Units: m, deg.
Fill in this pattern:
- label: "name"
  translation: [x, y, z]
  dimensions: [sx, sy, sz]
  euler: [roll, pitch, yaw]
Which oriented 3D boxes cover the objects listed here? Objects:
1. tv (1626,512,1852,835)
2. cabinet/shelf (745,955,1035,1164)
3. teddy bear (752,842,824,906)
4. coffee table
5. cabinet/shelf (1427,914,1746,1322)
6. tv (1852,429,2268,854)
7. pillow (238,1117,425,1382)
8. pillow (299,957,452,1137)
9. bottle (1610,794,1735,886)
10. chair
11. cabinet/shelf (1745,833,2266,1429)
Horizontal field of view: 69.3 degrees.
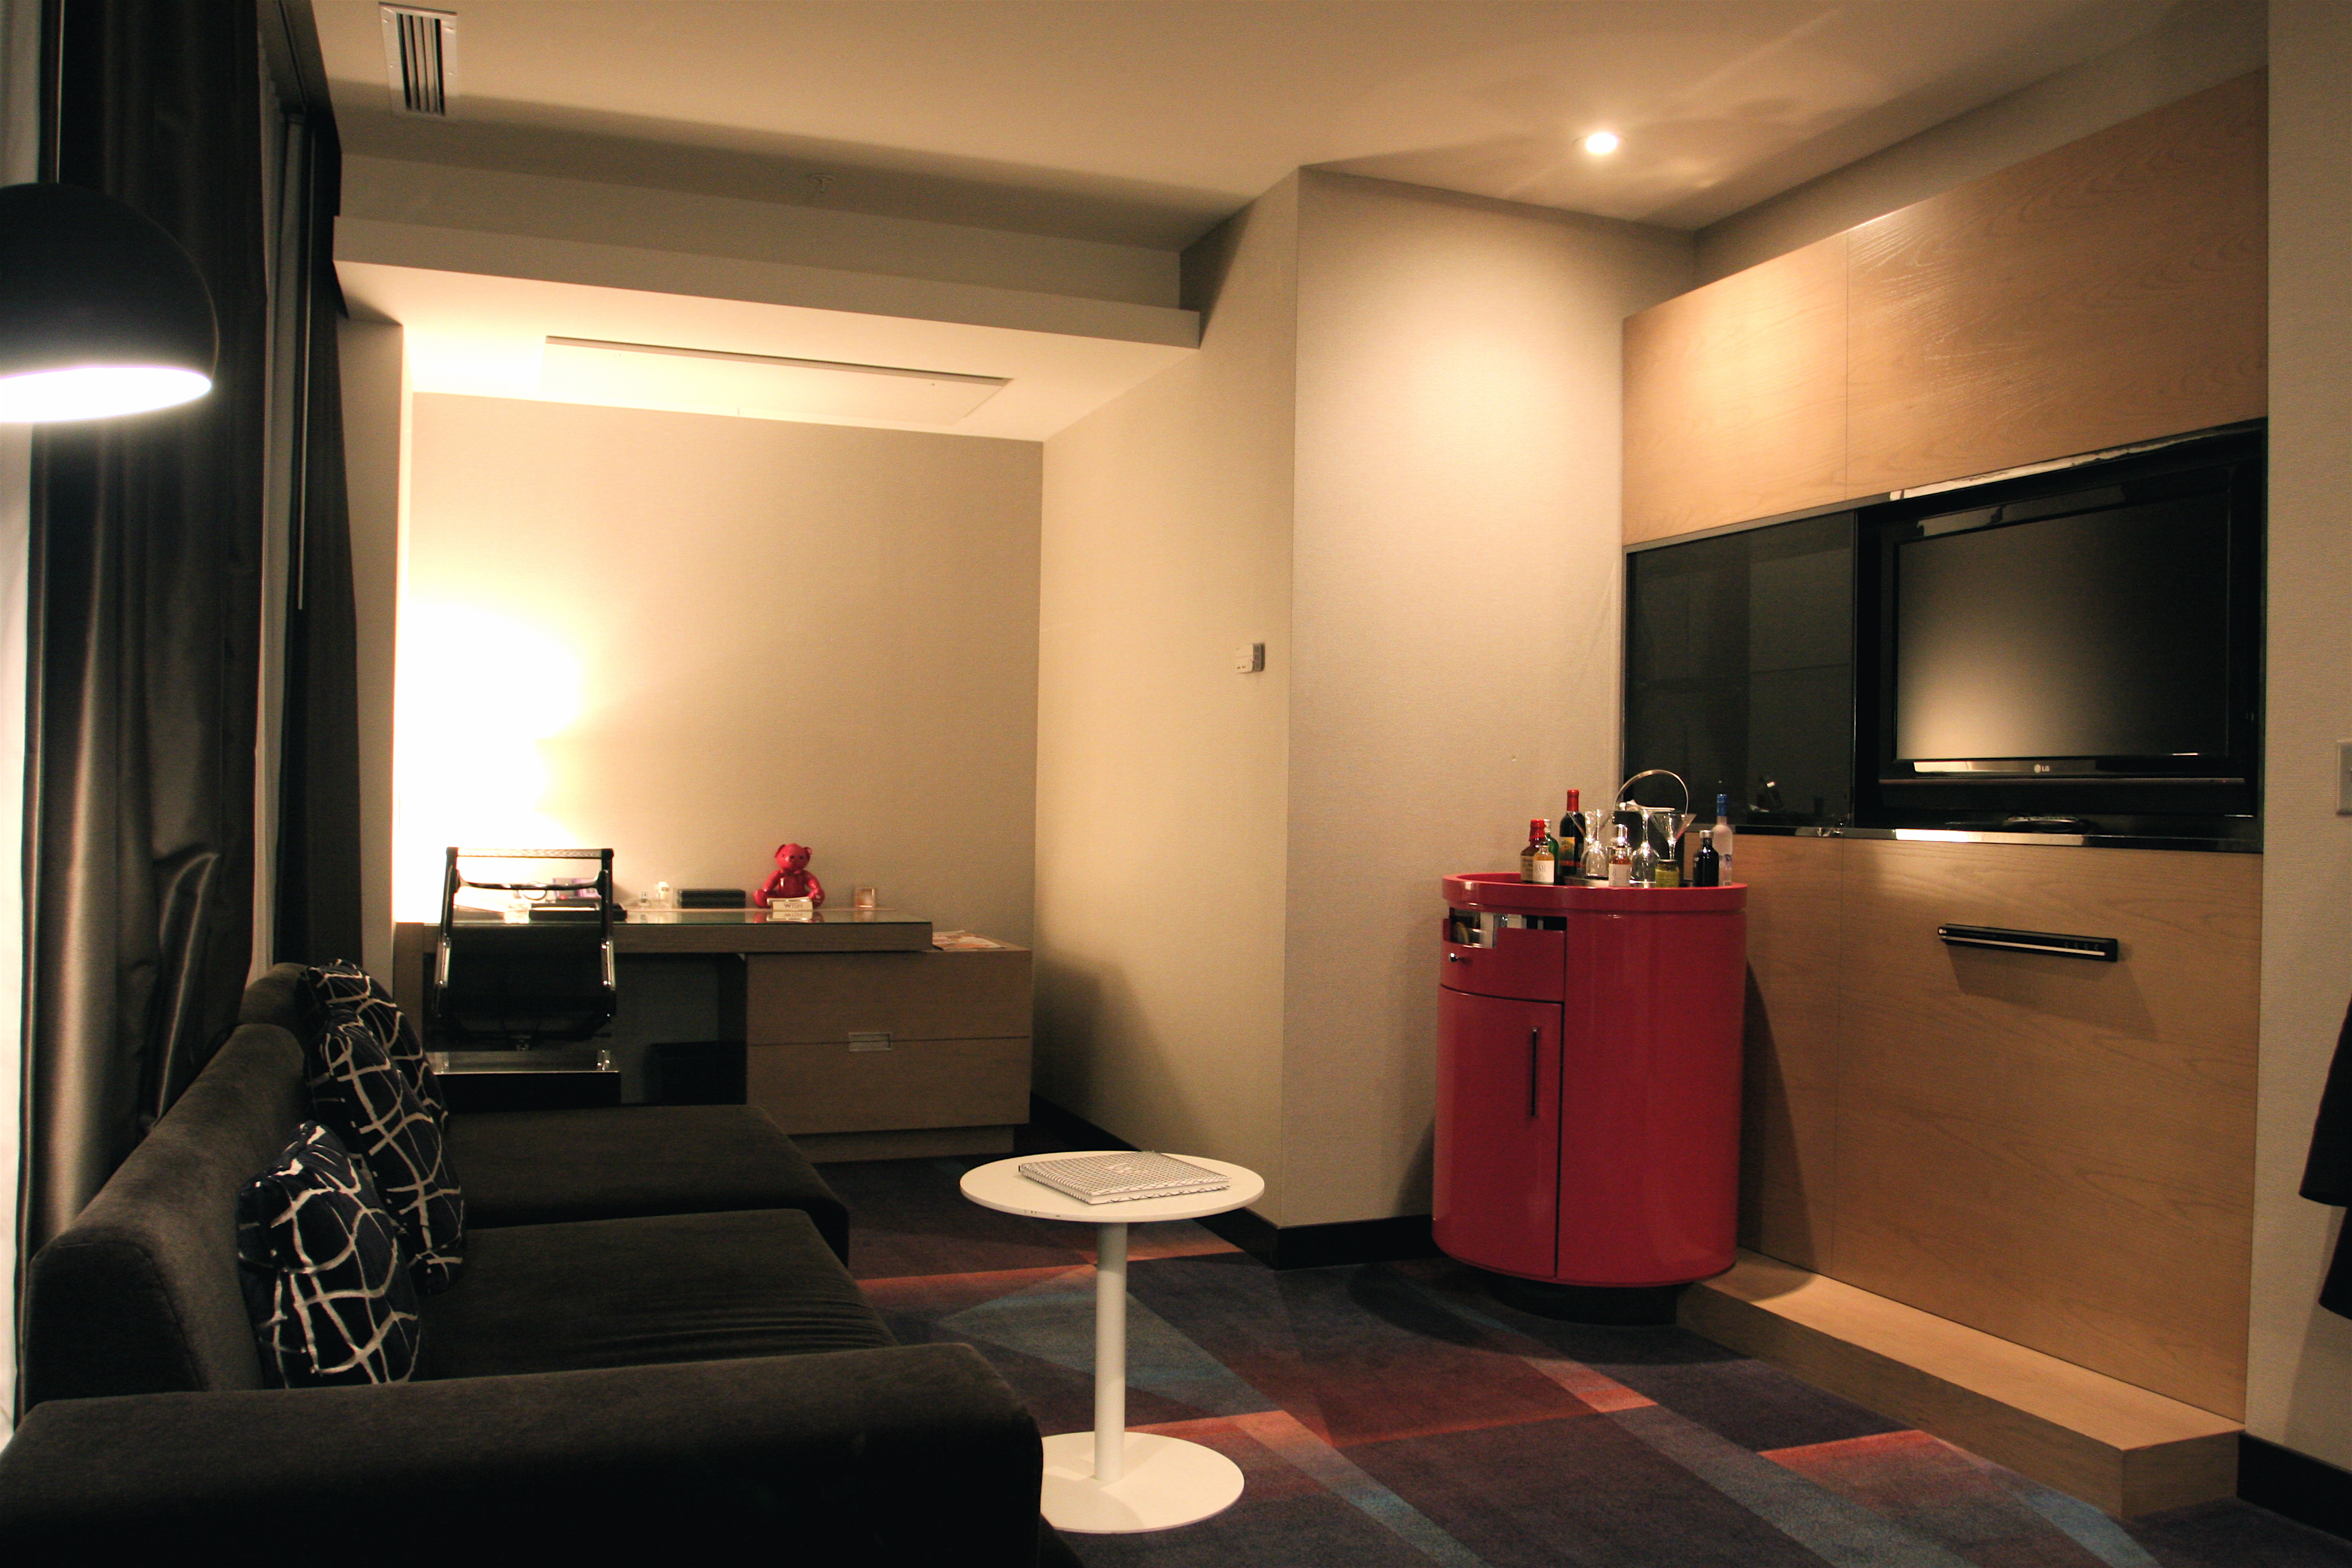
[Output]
- label: "tv"
  translation: [1.834, -0.355, 5.473]
  dimensions: [0.131, 1.278, 1.139]
  euler: [2, -1, -28]
- label: "cabinet/shelf"
  translation: [-1.117, 1.037, 6.763]
  dimensions: [0.942, 0.682, 0.880]
  euler: [1, -4, -14]
- label: "teddy bear"
  translation: [-1.712, 0.393, 7.409]
  dimensions: [0.242, 0.224, 0.128]
  euler: [7, -26, -21]
- label: "coffee table"
  translation: [-0.119, 1.328, 4.257]
  dimensions: [0.790, 0.714, 0.786]
  euler: [1, -1, 20]
- label: "cabinet/shelf"
  translation: [1.329, 0.953, 5.539]
  dimensions: [1.079, 1.119, 1.047]
  euler: [2, -5, 1]
- label: "tv"
  translation: [2.445, -0.408, 4.718]
  dimensions: [0.120, 0.968, 1.151]
  euler: [-1, 1, -27]
- label: "pillow"
  translation: [-1.635, 0.925, 3.261]
  dimensions: [0.244, 0.449, 0.661]
  euler: [-2, -1, -18]
- label: "pillow"
  translation: [-1.980, 0.653, 4.195]
  dimensions: [0.136, 0.416, 0.446]
  euler: [-19, 7, 2]
- label: "bottle"
  translation: [1.578, 0.208, 5.433]
  dimensions: [0.404, 0.365, 0.234]
  euler: [0, -2, 20]
- label: "chair"
  translation: [-2.506, 0.682, 6.571]
  dimensions: [0.842, 1.136, 0.861]
  euler: [2, -6, -21]
- label: "cabinet/shelf"
  translation: [2.551, 0.904, 4.988]
  dimensions: [0.860, 1.390, 1.603]
  euler: [0, 1, -28]
